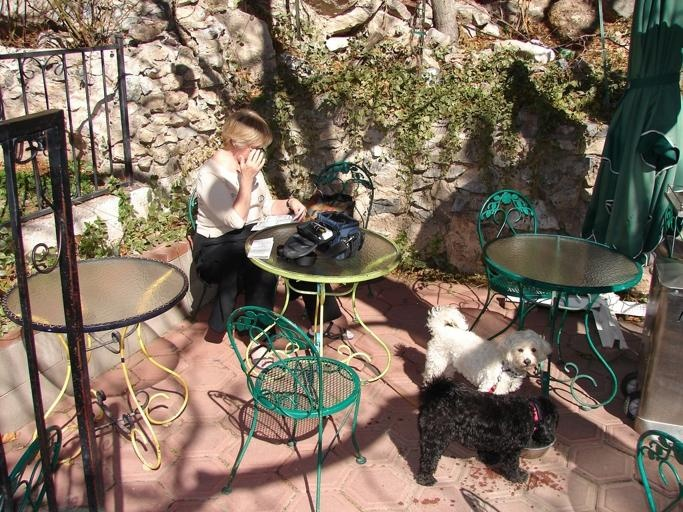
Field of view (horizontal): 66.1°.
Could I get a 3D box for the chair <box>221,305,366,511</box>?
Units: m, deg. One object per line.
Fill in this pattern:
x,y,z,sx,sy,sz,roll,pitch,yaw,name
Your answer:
-0.381,1.181,3.870,0.664,1.350,0.792,19,41,18,chair

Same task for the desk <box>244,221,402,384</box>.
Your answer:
-0.062,0.479,4.687,1.343,1.036,1.335,19,34,22,desk

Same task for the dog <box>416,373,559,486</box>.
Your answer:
1.026,1.201,3.625,0.964,0.723,0.353,0,21,-4,dog

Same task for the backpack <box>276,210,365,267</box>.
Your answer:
-0.137,-0.159,4.110,0.521,0.229,0.371,-18,38,-36,backpack

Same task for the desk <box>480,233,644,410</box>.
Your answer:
1.866,0.451,4.583,1.334,1.274,1.429,-2,37,3,desk

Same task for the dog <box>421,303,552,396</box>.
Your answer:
1.153,0.765,4.186,0.888,0.702,0.327,25,27,27,dog
